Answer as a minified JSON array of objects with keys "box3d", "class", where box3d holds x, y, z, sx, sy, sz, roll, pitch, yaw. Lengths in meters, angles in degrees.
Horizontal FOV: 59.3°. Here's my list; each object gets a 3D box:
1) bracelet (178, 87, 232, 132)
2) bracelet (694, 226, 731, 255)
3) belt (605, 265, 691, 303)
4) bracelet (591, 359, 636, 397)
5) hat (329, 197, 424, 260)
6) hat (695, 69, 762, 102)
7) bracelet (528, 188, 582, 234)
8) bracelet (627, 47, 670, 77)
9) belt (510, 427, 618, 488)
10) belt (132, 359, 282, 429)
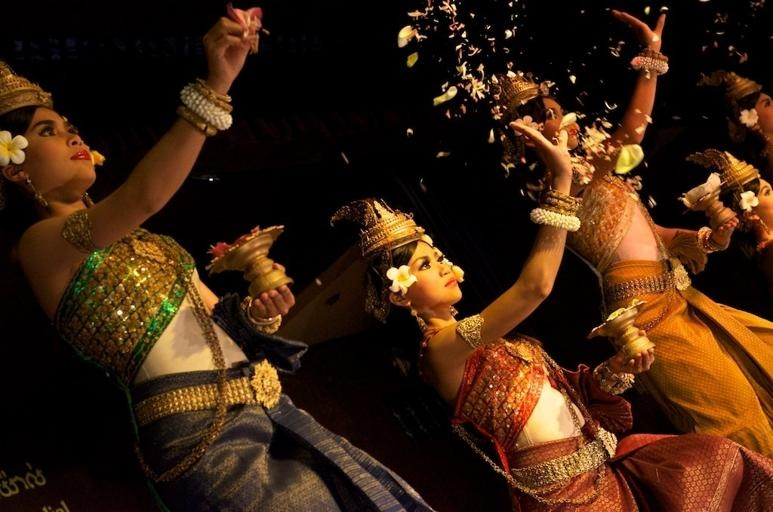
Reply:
[{"box3d":[-0.625,-0.480,2.356,0.062,0.141,0.173,-38,-40,22],"class":"bracelet"},{"box3d":[1.611,-0.067,3.366,0.150,0.071,0.123,17,-28,8],"class":"bracelet"},{"box3d":[1.286,0.137,3.338,0.264,0.131,0.233,-12,0,15],"class":"belt"},{"box3d":[0.985,0.524,2.944,0.164,0.106,0.154,1,-9,0],"class":"bracelet"},{"box3d":[-0.058,-0.146,3.235,0.434,0.268,0.308,-10,6,24],"class":"hat"},{"box3d":[1.871,-0.930,3.693,0.264,0.134,0.187,-5,15,-9],"class":"hat"},{"box3d":[0.678,-0.180,2.724,0.175,0.112,0.169,-6,4,-33],"class":"bracelet"},{"box3d":[1.344,-0.982,3.489,0.143,0.084,0.166,2,4,-6],"class":"bracelet"},{"box3d":[0.769,0.900,3.033,0.398,0.099,0.414,-15,-8,-32],"class":"belt"},{"box3d":[-0.647,0.468,2.540,0.345,0.140,0.252,-13,8,-8],"class":"belt"}]
